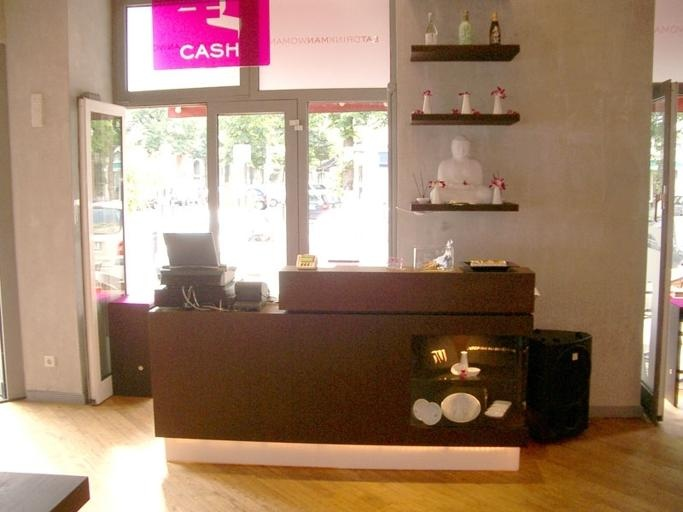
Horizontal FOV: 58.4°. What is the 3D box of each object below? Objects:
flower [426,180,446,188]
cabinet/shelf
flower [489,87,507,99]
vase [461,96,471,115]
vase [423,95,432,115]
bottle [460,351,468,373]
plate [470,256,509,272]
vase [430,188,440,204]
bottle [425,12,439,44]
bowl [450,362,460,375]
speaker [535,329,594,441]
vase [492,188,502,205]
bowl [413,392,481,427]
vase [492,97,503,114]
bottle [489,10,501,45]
[{"bbox_3d":[0.805,-0.607,5.185,0.103,0.036,0.072,2,-4,-41],"label":"flower"},{"bbox_3d":[0.993,-1.063,5.187,0.952,1.333,0.418,0,11,4],"label":"cabinet/shelf"},{"bbox_3d":[1.329,-1.377,5.172,0.130,0.132,0.041,-4,-9,18],"label":"flower"},{"bbox_3d":[1.048,-1.262,5.127,0.083,0.179,0.258,0,6,11],"label":"vase"},{"bbox_3d":[0.715,-1.262,5.132,0.079,0.176,0.252,-1,6,9],"label":"vase"},{"bbox_3d":[0.926,0.800,4.602,0.068,0.156,0.048,-1,6,6],"label":"bottle"},{"bbox_3d":[1.172,0.068,4.776,0.286,0.071,0.449,1,6,27],"label":"plate"},{"bbox_3d":[0.775,-0.495,5.080,0.078,0.132,0.093,-1,6,9],"label":"vase"},{"bbox_3d":[0.749,-1.881,5.065,0.112,0.337,0.295,-1,6,10],"label":"bottle"},{"bbox_3d":[0.859,0.855,4.612,0.063,0.080,0.027,2,1,34],"label":"bowl"},{"bbox_3d":[1.799,1.095,5.025,0.537,0.830,0.167,-3,6,-14],"label":"speaker"},{"bbox_3d":[1.288,-0.489,5.054,0.086,0.143,0.166,0,6,12],"label":"vase"},{"bbox_3d":[0.802,1.153,4.663,0.550,0.224,0.100,-3,8,9],"label":"bowl"},{"bbox_3d":[1.310,-1.255,5.108,0.077,0.185,0.273,0,6,14],"label":"vase"},{"bbox_3d":[1.269,-1.867,5.049,0.092,0.322,0.306,0,6,14],"label":"bottle"}]
